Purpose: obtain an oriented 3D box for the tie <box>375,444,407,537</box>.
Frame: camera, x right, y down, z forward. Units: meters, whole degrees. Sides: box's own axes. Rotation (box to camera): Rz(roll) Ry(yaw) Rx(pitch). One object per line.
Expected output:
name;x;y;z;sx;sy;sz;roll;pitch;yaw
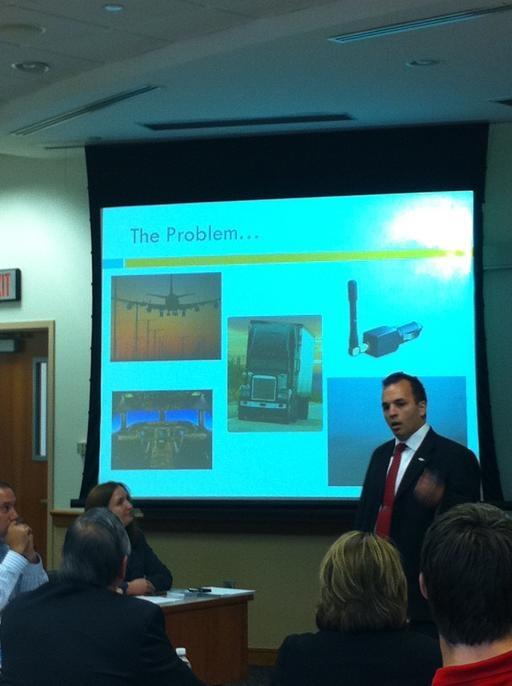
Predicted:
tie;0.572;0.604;3.014;0.042;0.441;0.070;6;2;-14
